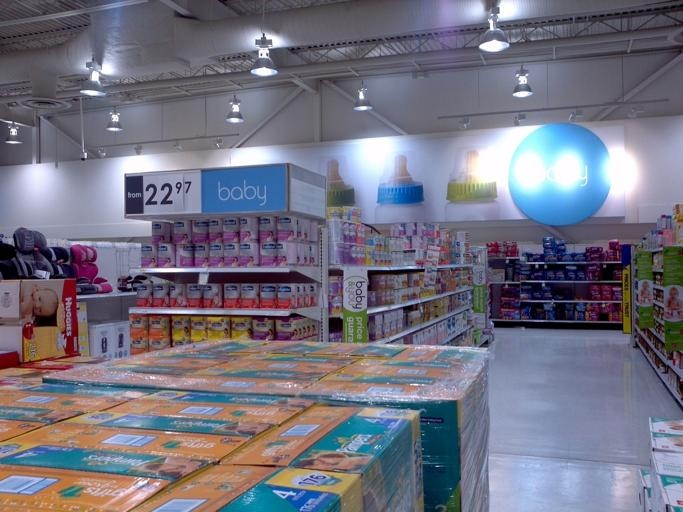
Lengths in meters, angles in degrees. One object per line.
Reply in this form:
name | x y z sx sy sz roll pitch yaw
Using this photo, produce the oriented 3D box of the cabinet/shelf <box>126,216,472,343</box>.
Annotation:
cabinet/shelf | -0.449 0.250 5.174 1.878 0.666 1.967 0 -1 28
